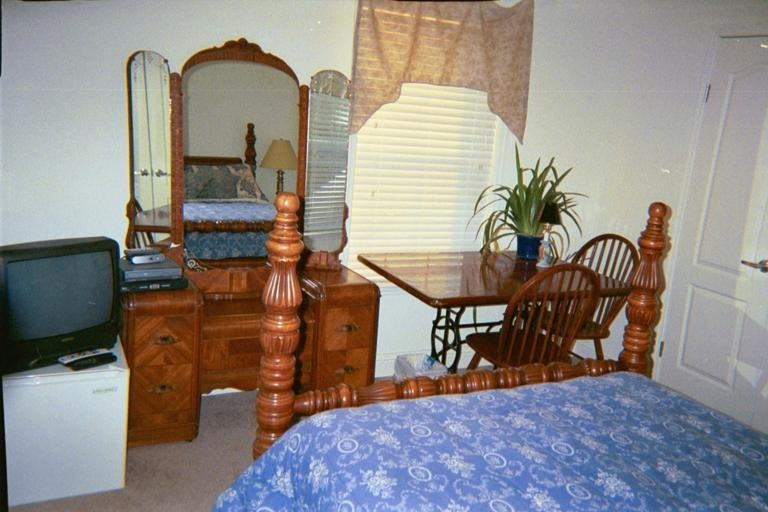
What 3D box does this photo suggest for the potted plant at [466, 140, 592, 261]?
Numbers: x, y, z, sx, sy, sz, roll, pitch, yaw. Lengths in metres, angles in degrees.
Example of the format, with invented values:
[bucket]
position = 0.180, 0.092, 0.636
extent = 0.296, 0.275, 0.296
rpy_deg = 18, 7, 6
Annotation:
[potted plant]
position = 0.978, -0.368, 3.978
extent = 0.857, 0.731, 0.830
rpy_deg = 0, 13, 5

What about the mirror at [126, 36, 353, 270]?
[mirror]
position = -0.926, -0.649, 3.329
extent = 1.438, 1.498, 0.050
rpy_deg = -3, 17, -20

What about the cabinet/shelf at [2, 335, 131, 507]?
[cabinet/shelf]
position = -1.529, 0.781, 3.061
extent = 0.725, 0.867, 0.593
rpy_deg = -2, 9, -24
